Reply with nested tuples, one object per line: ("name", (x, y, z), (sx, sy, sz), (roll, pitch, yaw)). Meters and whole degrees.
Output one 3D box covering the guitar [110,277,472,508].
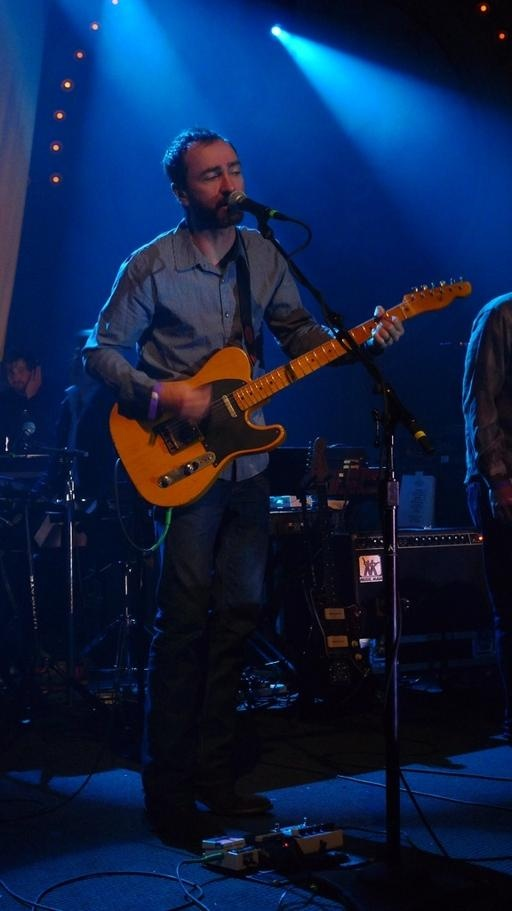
("guitar", (0.302, -0.290, 3.832), (1.952, 0.689, 0.259), (-28, -11, -2))
